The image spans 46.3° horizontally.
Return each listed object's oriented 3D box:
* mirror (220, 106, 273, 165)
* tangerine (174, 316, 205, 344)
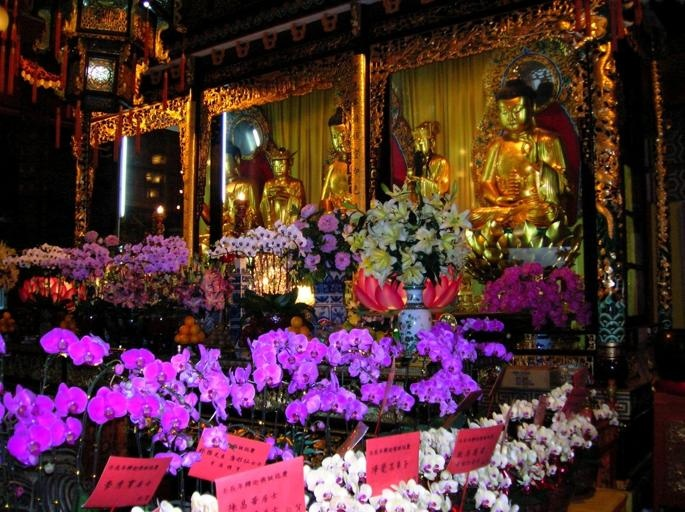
[{"bbox_3d":[-0.859,-1.084,7.177,0.436,0.032,0.567,0,-47,0],"label":"mirror"},{"bbox_3d":[-0.782,0.391,4.127,0.134,0.137,0.140,7,-5,-32],"label":"tangerine"}]
